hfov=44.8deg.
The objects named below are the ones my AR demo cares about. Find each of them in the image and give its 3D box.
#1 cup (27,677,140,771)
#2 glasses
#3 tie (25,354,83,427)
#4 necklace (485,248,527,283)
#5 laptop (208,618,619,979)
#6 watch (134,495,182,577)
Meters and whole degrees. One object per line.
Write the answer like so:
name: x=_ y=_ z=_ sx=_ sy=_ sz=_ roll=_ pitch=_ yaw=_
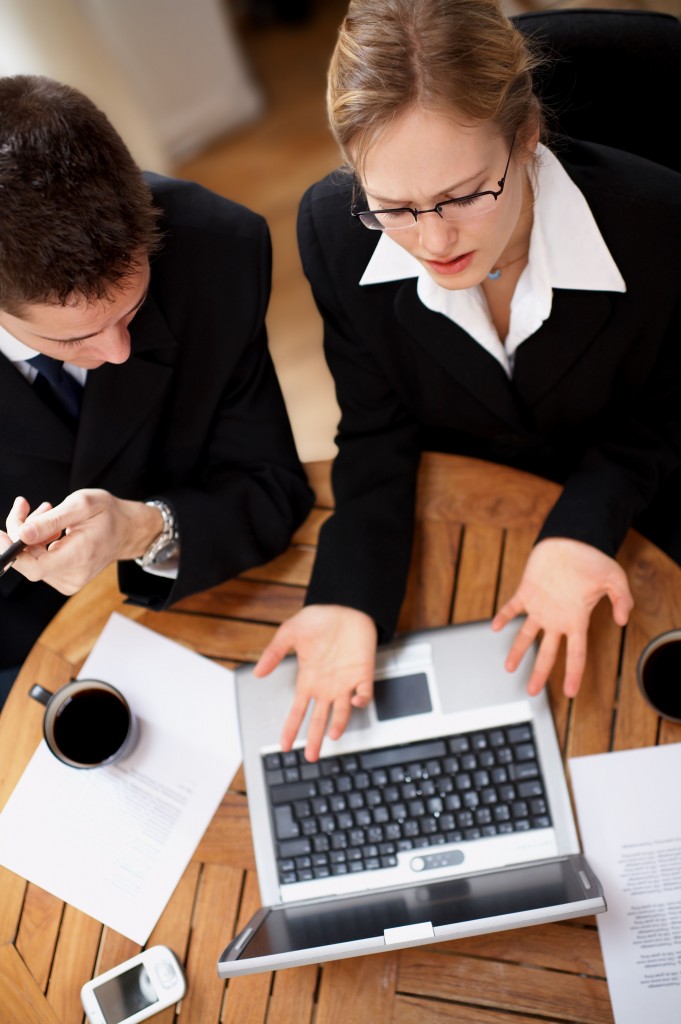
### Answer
cup: x=-0.344 y=0.293 z=1.185 sx=0.142 sy=0.104 sz=0.097 roll=30 pitch=71 yaw=15
glasses: x=0.100 y=-0.349 z=0.947 sx=0.186 sy=0.080 sz=0.091 roll=2 pitch=48 yaw=19
tie: x=-0.447 y=-0.198 z=1.327 sx=0.039 sy=0.177 sz=0.053 roll=-30 pitch=83 yaw=-4
necklace: x=0.232 y=-0.346 z=1.144 sx=0.044 sy=0.026 sz=0.060 roll=8 pitch=53 yaw=50
laptop: x=0.076 y=0.342 z=1.027 sx=0.420 sy=0.238 sz=0.415 roll=-13 pitch=45 yaw=5
watch: x=-0.280 y=0.037 z=1.310 sx=0.085 sy=0.113 sz=0.069 roll=2 pitch=6 yaw=25
